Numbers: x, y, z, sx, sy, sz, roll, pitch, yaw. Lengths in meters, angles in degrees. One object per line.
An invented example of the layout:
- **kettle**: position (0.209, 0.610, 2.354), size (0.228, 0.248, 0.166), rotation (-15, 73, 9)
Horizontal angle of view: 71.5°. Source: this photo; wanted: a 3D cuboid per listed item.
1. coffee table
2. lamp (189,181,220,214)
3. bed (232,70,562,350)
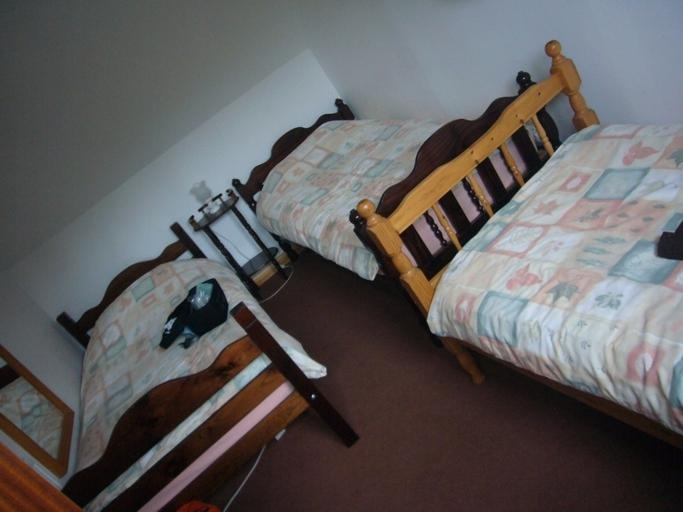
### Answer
- **coffee table**: position (-0.836, -0.098, 3.869), size (0.428, 0.865, 0.361), rotation (-45, 15, -8)
- **lamp**: position (-1.162, -0.496, 4.050), size (0.227, 0.310, 0.089), rotation (-32, 16, -5)
- **bed**: position (0.245, -0.513, 3.453), size (1.411, 1.156, 2.166), rotation (-45, 37, -10)
